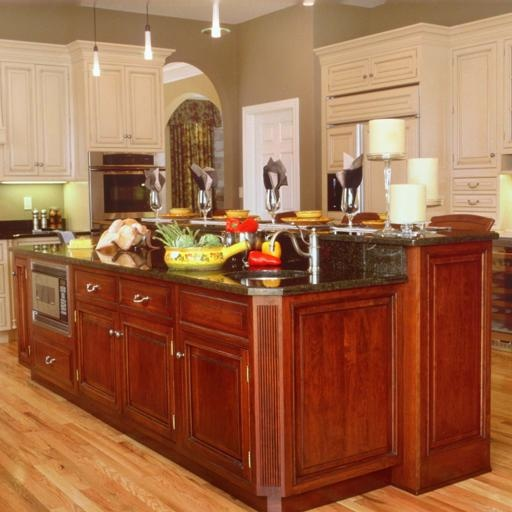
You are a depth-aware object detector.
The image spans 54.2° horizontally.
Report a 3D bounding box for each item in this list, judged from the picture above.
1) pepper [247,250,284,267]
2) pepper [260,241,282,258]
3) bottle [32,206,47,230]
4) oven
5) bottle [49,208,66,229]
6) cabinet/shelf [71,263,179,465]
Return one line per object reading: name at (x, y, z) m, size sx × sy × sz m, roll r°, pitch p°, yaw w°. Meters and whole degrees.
pepper at (0.042, 0.005, 2.274) m, size 0.135 × 0.063 × 0.051 m, roll 3°, pitch -9°, yaw 17°
pepper at (0.072, -0.031, 2.291) m, size 0.084 × 0.073 × 0.077 m, roll 1°, pitch -6°, yaw -4°
bottle at (-2.316, -0.391, 5.352) m, size 0.156 × 0.250 × 0.233 m, roll -1°, pitch -1°, yaw -23°
oven at (-1.226, -0.685, 5.289) m, size 0.857 × 0.679 × 0.558 m, roll 2°, pitch 4°, yaw 16°
bottle at (-2.178, -0.403, 5.488) m, size 0.199 × 0.238 × 0.179 m, roll -1°, pitch -1°, yaw -42°
cabinet/shelf at (-0.611, 0.515, 2.375) m, size 0.399 × 0.742 × 0.938 m, roll 0°, pitch 3°, yaw -39°
